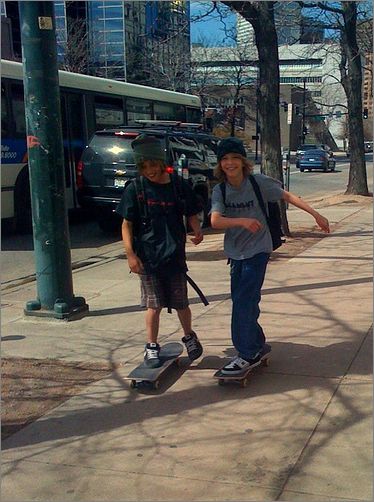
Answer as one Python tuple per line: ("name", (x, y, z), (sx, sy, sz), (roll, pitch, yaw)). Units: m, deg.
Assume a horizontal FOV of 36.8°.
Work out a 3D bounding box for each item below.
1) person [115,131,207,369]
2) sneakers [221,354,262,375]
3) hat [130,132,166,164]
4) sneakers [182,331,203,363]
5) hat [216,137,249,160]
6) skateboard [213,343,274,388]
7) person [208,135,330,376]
("person", (-0.151, 0.005, 3.927), (0.579, 1.634, 0.363), (-8, 12, -8))
("sneakers", (0.386, 0.754, 3.771), (0.299, 0.086, 0.097), (-6, 2, -41))
("hat", (-0.281, -0.719, 3.916), (0.212, 0.196, 0.256), (-12, 8, 8))
("sneakers", (0.023, 0.696, 4.153), (0.098, 0.110, 0.267), (-38, 25, 10))
("hat", (0.296, -0.688, 3.759), (0.186, 0.153, 0.227), (-4, 10, 2))
("skateboard", (0.408, 0.788, 3.881), (0.173, 0.084, 0.569), (2, 5, 28))
("person", (0.475, 0.009, 3.781), (0.775, 1.547, 0.446), (-9, 12, -15))
